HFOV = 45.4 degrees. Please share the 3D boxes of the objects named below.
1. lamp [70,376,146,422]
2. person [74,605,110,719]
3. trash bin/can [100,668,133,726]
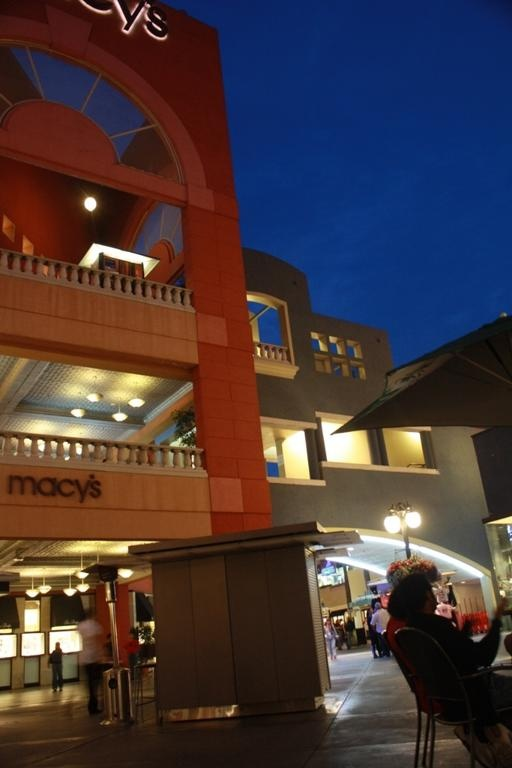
[{"bbox_3d":[-4.564,0.645,19.043,1.727,0.379,1.580,6,-16,-31],"label":"lamp"},{"bbox_3d":[-3.049,5.171,11.347,0.437,1.824,1.365,-4,-19,-17],"label":"person"},{"bbox_3d":[-2.138,4.729,9.279,0.419,0.776,0.706,-4,-19,-16],"label":"trash bin/can"}]
